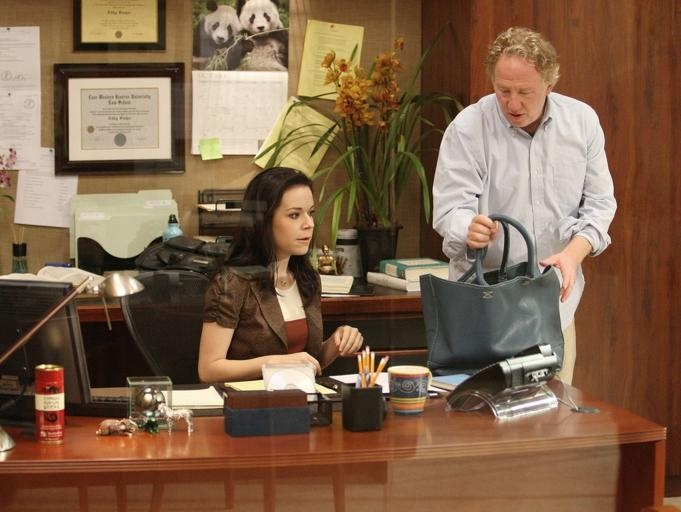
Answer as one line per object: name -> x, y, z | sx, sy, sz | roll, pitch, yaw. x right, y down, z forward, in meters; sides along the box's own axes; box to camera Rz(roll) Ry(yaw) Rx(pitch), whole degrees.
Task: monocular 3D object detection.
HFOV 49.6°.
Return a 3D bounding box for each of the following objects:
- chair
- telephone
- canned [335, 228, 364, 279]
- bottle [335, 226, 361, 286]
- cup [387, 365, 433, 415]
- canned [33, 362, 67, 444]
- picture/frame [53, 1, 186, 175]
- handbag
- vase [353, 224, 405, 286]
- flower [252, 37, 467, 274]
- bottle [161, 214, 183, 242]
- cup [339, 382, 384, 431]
chair -> -0.481, 0.195, 2.219 | 0.277, 0.409, 0.296 | -2, 1, -15
telephone -> 0.374, 0.271, 1.693 | 0.188, 0.139, 0.144 | 18, 17, 37
canned -> 0.026, -0.021, 2.419 | 0.101, 0.177, 0.102 | 1, 12, 10
bottle -> 0.026, -0.012, 2.415 | 0.087, 0.161, 0.094 | 0, 10, 0
cup -> 0.159, 0.305, 1.682 | 0.116, 0.103, 0.101 | -1, 3, -10
canned -> -0.606, 0.307, 1.526 | 0.056, 0.150, 0.057 | -3, 8, -19
picture/frame -> -0.638, -0.493, 2.073 | 0.437, 0.641, 0.044 | 0, 4, -10
handbag -> 0.381, 0.088, 1.802 | 0.359, 0.395, 0.198 | -2, 9, -6
vase -> 0.138, -0.023, 2.428 | 0.147, 0.179, 0.144 | 7, 24, 22
flower -> 0.071, -0.306, 2.316 | 0.498, 0.651, 0.663 | 0, 4, 34
bottle -> -0.500, -0.086, 2.181 | 0.060, 0.077, 0.031 | -3, 8, -18
cup -> 0.048, 0.325, 1.621 | 0.108, 0.115, 0.084 | 0, -1, -10
